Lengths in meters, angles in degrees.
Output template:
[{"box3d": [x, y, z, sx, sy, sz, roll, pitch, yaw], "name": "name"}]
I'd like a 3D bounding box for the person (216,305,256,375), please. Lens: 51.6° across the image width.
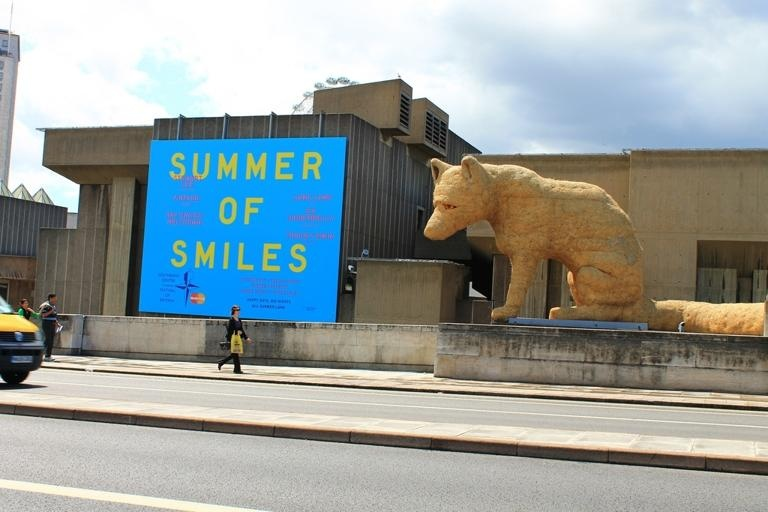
[{"box3d": [-4.679, 2.585, 24.660, 0.820, 2.016, 1.444, 2, 0, -11], "name": "person"}]
